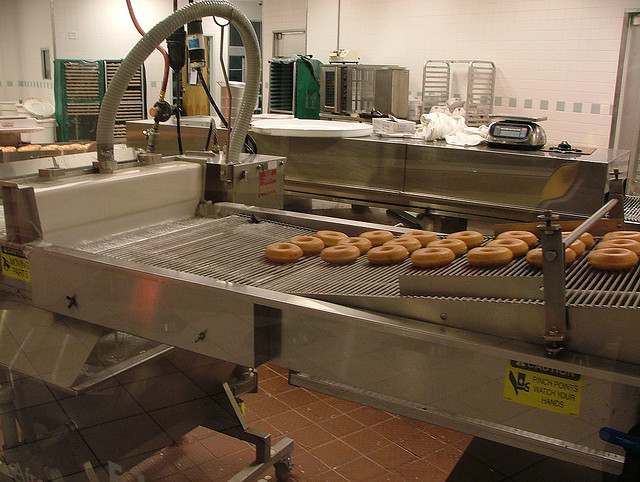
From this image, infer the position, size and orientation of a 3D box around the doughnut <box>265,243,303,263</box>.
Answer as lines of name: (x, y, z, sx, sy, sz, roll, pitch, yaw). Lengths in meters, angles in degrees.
doughnut: (-0.101, 0.032, 1.240, 0.089, 0.033, 0.093, -9, 17, -34)

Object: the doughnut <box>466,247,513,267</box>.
doughnut: (0.364, 0.029, 0.999, 0.064, 0.018, 0.059, 0, 12, 27)

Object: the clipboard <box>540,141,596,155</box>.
clipboard: (1.458, -0.549, 2.744, 0.267, 0.066, 0.323, 8, 16, 29)

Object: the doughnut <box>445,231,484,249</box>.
doughnut: (0.373, -0.004, 1.190, 0.066, 0.019, 0.060, -8, 7, -27)

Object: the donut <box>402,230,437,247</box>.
donut: (0.268, -0.004, 1.283, 0.064, 0.018, 0.062, -9, 9, -39)

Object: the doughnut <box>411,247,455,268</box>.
doughnut: (0.256, 0.041, 1.072, 0.081, 0.045, 0.067, 13, 19, 39)

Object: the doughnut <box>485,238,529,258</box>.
doughnut: (0.427, 0.009, 1.055, 0.067, 0.019, 0.059, -3, 6, -2)

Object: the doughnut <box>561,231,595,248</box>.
doughnut: (0.610, -0.007, 1.107, 0.069, 0.020, 0.064, -6, 7, -33)

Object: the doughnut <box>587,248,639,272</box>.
doughnut: (0.586, 0.027, 0.924, 0.071, 0.020, 0.062, -5, 10, 3)

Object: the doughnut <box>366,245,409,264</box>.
doughnut: (0.169, 0.035, 1.174, 0.096, 0.041, 0.059, 3, 15, 12)

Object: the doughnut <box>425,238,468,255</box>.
doughnut: (0.303, 0.008, 1.127, 0.061, 0.016, 0.054, -6, 7, -18)
